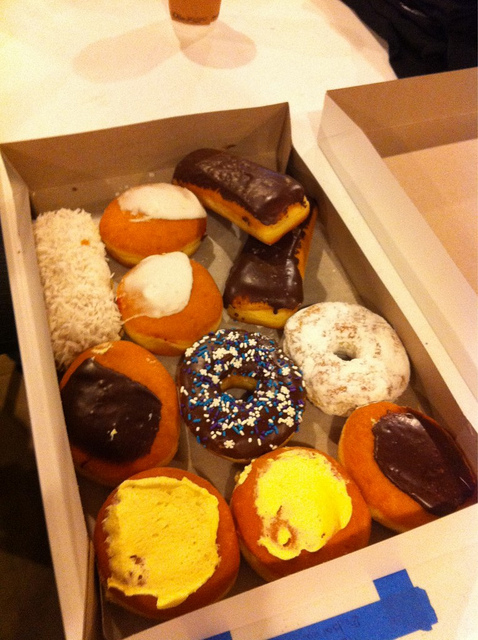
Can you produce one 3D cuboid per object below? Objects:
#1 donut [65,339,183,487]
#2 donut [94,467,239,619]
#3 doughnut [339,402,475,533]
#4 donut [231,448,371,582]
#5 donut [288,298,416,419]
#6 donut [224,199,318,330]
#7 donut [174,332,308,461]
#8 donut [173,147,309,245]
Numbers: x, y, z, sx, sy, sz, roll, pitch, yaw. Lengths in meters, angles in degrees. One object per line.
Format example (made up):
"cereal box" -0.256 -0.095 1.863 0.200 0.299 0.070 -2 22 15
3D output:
"donut" -0.270 0.208 1.249 0.258 0.176 0.324 -8 46 -13
"donut" -0.147 0.436 1.040 0.261 0.089 0.273 -32 55 -32
"doughnut" 0.365 0.320 1.196 0.235 0.083 0.273 -28 59 -16
"donut" 0.119 0.406 1.128 0.286 0.126 0.249 -14 47 -18
"donut" 0.294 0.083 1.393 0.304 0.104 0.297 -10 57 -10
"donut" 0.095 -0.147 1.473 0.175 0.105 0.346 15 62 12
"donut" 0.002 0.187 1.301 0.322 0.151 0.311 2 44 -4
"donut" 0.000 -0.352 1.582 0.395 0.128 0.215 29 67 19
